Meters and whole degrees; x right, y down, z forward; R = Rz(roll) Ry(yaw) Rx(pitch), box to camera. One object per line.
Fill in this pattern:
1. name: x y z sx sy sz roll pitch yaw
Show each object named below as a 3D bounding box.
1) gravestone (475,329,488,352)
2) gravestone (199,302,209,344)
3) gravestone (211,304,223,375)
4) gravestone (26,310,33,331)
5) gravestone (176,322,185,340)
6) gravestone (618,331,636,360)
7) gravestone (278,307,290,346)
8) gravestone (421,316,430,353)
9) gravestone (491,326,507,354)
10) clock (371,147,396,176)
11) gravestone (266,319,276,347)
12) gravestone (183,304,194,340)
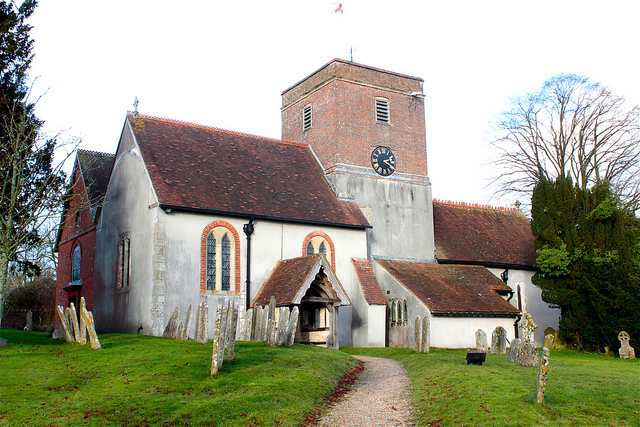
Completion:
1. gravestone: 9.269 7.289 30.471 0.528 1.129 0.733 1 1 7
2. gravestone: -5.905 5.586 27.061 0.378 2.176 1.382 1 1 -13
3. gravestone: -4.323 5.339 22.373 0.434 2.596 0.837 1 1 -10
4. gravestone: -28.594 10.505 52.442 0.550 1.834 2.558 0 2 -29
5. gravestone: -7.610 6.472 29.272 0.187 0.848 0.582 8 -17 -22
6. gravestone: 20.425 8.773 35.395 1.003 1.549 1.620 2 1 30
7. gravestone: -1.881 5.979 28.201 0.473 2.087 0.631 1 1 -3
8. gravestone: 6.435 7.368 32.343 0.464 2.226 0.855 1 1 11
9. gravestone: 10.637 7.568 31.645 0.763 1.628 0.721 2 1 18
10. clock: 5.145 -4.156 43.700 1.922 1.977 0.121 22 -29 -32
11. gravestone: -2.549 6.267 28.058 0.465 1.261 0.928 1 1 -10
12. gravestone: -7.165 5.902 28.924 0.441 1.991 2.042 1 1 -12
